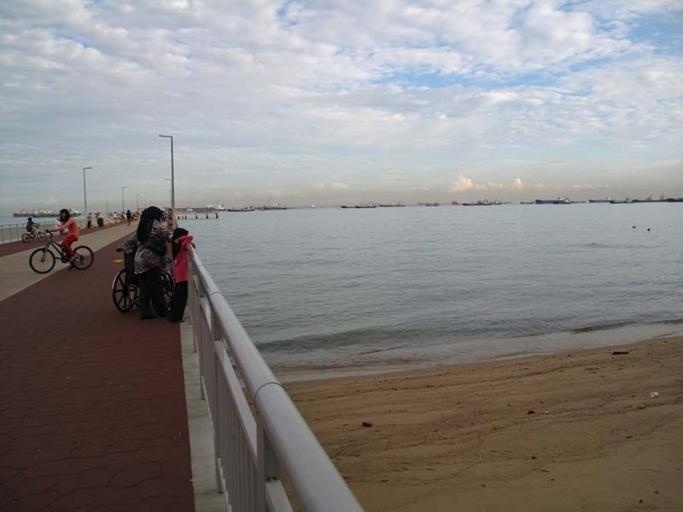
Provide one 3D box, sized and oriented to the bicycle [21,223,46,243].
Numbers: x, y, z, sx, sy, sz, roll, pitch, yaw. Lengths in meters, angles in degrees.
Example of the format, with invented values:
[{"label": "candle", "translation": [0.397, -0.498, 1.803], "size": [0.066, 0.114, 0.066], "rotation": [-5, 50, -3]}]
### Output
[{"label": "bicycle", "translation": [-18.697, -1.399, 29.393], "size": [1.924, 1.077, 1.097], "rotation": [1, 5, 10]}]
